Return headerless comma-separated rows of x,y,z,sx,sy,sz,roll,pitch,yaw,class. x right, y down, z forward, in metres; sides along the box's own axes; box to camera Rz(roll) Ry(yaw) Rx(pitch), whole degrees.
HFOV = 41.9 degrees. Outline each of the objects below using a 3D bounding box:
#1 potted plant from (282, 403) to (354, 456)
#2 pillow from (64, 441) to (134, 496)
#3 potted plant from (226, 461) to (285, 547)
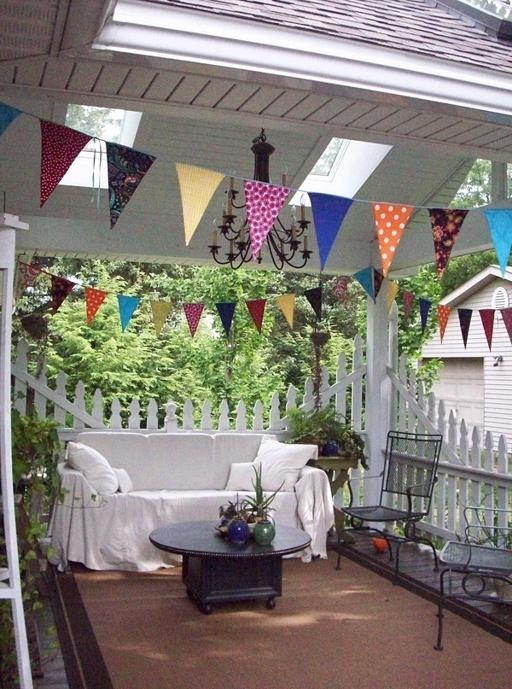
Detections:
0.564,0.704,5.599,0.435,0.301,0.395,0,-5,19,potted plant
-1.072,0.869,4.647,0.453,0.344,0.412,2,-4,-17,pillow
0.056,1.006,3.938,0.319,0.478,0.469,0,-12,5,potted plant
